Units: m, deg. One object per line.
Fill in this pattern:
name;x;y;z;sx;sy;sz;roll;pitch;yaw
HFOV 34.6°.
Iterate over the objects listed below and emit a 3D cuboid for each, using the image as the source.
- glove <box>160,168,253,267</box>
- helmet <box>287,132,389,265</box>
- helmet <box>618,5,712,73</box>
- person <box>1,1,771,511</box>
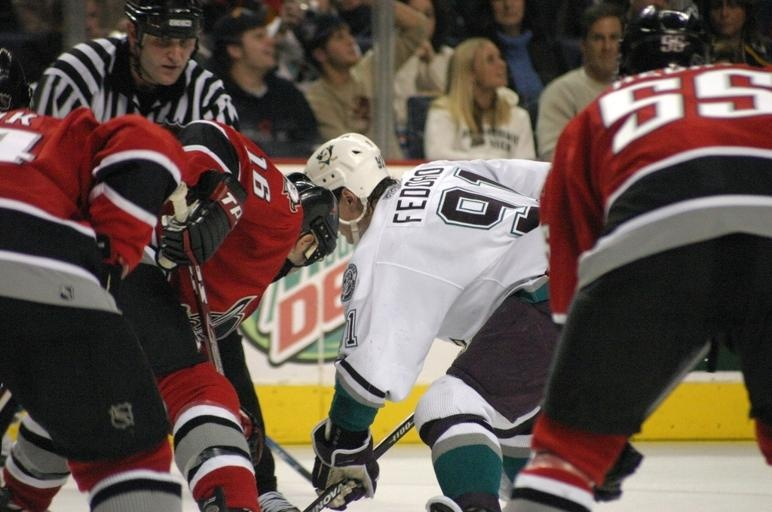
glove;-0.586;-0.111;3.961;0.151;0.322;0.226;45;4;-40
helmet;-0.221;-0.235;4.794;0.412;0.429;0.334;-24;-6;20
helmet;0.867;-0.673;3.888;0.191;0.206;0.243;6;18;-4
person;0.222;0.043;4.255;1.542;1.776;0.745;13;19;43
